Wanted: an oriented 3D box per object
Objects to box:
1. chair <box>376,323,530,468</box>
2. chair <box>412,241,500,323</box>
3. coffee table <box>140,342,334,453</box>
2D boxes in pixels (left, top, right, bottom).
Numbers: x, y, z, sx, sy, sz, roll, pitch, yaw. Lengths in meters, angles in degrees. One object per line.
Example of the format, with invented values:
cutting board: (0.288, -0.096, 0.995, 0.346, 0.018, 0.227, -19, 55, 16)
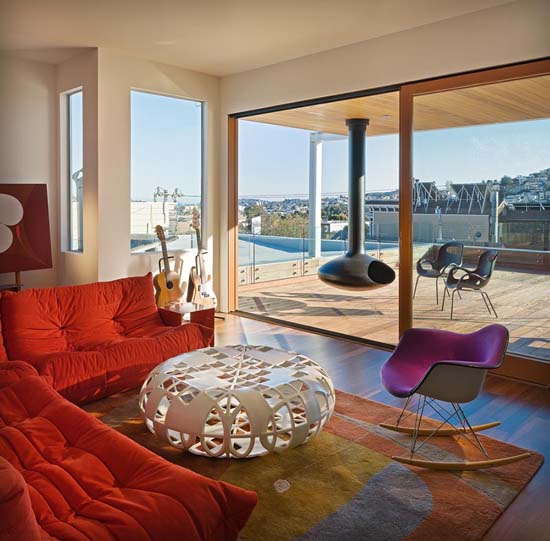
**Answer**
chair: (1.019, 0.702, 2.514, 0.770, 0.697, 0.799, -3, 2, 1)
chair: (1.743, 0.096, 3.941, 0.365, 0.541, 0.798, -4, 8, -23)
coffee table: (-0.192, 0.755, 2.642, 1.101, 0.327, 1.036, 8, 13, 7)
